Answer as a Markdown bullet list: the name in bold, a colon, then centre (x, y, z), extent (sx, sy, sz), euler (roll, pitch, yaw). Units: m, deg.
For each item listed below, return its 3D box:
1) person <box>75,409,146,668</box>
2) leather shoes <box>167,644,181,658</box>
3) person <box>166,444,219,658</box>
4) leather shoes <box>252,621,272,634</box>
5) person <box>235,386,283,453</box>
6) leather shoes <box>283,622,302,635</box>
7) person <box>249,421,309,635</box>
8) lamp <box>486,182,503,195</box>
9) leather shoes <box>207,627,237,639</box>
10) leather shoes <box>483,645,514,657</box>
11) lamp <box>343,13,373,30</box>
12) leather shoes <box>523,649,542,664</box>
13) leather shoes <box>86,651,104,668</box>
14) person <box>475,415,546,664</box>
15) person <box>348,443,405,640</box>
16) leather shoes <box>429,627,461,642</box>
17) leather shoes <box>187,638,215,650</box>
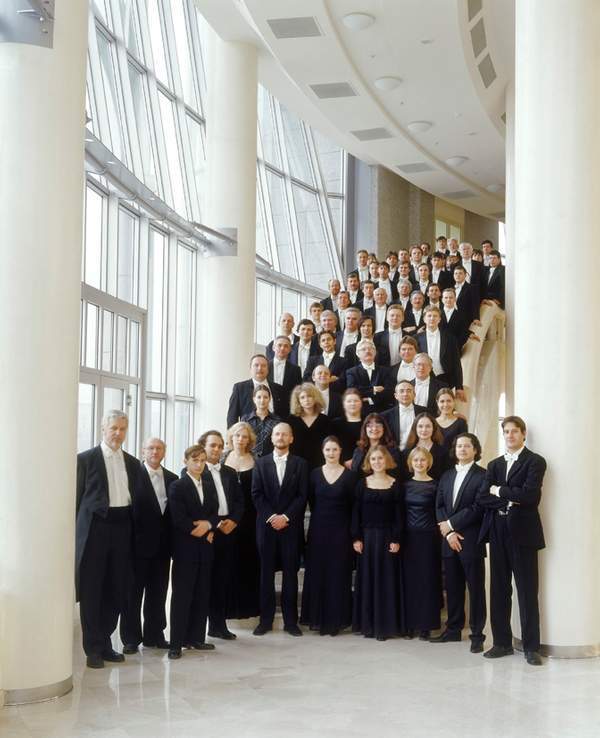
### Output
- **person**: centre (-1.306, 1.202, 4.996), extent (0.282, 1.502, 0.607), euler (-3, -8, 29)
- **leather shoes**: centre (-0.874, 1.940, 4.991), extent (0.041, 0.091, 0.124), euler (-5, -20, 28)
- **person**: centre (-0.763, 1.349, 5.248), extent (0.394, 1.306, 0.303), euler (4, -7, -25)
- **leather shoes**: centre (-0.301, 2.043, 5.789), extent (0.060, 0.089, 0.191), euler (-6, -22, 23)
- **person**: centre (-0.399, 0.473, 6.657), extent (0.501, 0.829, 0.220), euler (0, -12, -3)
- **leather shoes**: centre (-0.071, 2.042, 5.767), extent (0.161, 0.077, 0.172), euler (-1, -8, 11)
- **person**: centre (-0.169, 1.264, 5.878), extent (0.451, 1.652, 0.280), euler (0, -7, 0)
- **lamp**: centre (5.138, -4.724, 19.326), extent (0.428, 0.138, 0.958), euler (-2, -8, 17)
- **leather shoes**: centre (-0.609, 2.040, 5.710), extent (0.213, 0.099, 0.082), euler (-6, -11, 29)
- **leather shoes**: centre (1.380, 1.960, 5.106), extent (0.195, 0.094, 0.081), euler (5, -11, -17)
- **lamp**: centre (0.832, -5.006, 10.537), extent (0.463, 0.101, 0.410), euler (0, -8, 2)
- **leather shoes**: centre (1.550, 1.930, 4.894), extent (0.115, 0.073, 0.140), euler (-2, -8, 17)
- **leather shoes**: centre (-1.332, 1.888, 4.755), extent (0.114, 0.068, 0.184), euler (3, -8, -16)
- **person**: centre (1.477, 1.158, 5.092), extent (0.425, 1.643, 0.274), euler (-4, -8, 31)
- **person**: centre (0.609, 1.346, 5.810), extent (0.403, 1.477, 0.293), euler (-2, -7, 17)
- **leather shoes**: centre (1.112, 2.024, 5.602), extent (0.255, 0.129, 0.093), euler (1, -8, 1)
- **leather shoes**: centre (-0.710, 1.983, 5.297), extent (0.216, 0.105, 0.080), euler (0, -16, -1)
